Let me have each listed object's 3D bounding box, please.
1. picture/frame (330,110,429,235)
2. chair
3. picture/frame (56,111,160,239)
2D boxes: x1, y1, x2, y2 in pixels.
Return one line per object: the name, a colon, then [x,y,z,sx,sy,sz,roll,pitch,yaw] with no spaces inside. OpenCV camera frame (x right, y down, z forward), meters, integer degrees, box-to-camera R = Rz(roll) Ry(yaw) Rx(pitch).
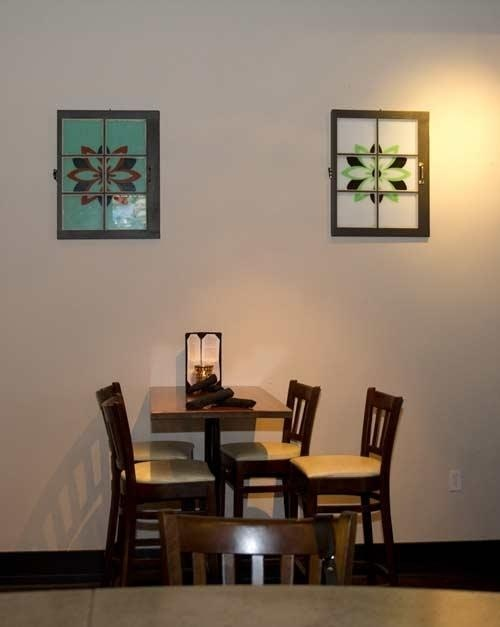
picture/frame: [0.705,-0.799,3.271,0.721,0.866,0.113,0,-2,-7]
chair: [0.024,0.695,2.629,1.074,0.727,1.056,1,-4,-8]
picture/frame: [-0.792,-0.747,3.150,0.711,0.806,0.038,0,-3,-8]
